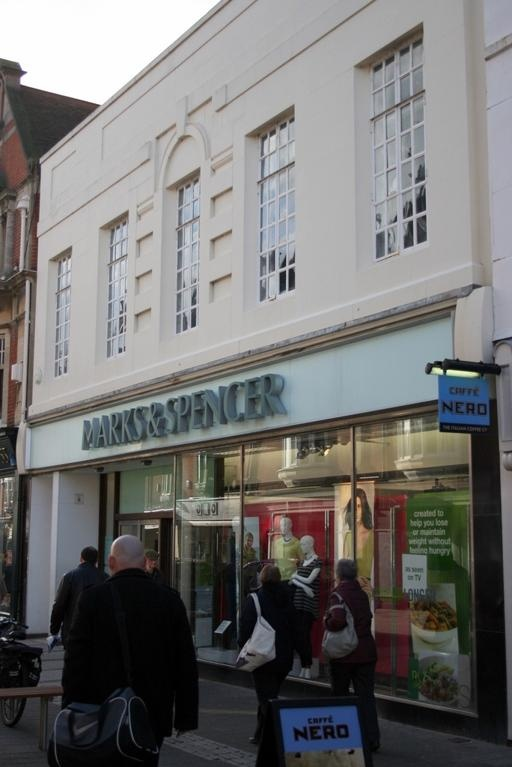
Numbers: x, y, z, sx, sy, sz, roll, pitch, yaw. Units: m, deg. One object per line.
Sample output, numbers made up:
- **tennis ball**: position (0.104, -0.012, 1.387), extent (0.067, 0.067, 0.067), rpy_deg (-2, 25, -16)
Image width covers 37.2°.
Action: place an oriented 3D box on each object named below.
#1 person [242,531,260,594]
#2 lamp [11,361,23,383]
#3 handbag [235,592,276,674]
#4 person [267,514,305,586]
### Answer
- **person**: position (-0.072, 2.520, 10.374), extent (0.236, 1.001, 0.285), rpy_deg (-5, 19, -7)
- **lamp**: position (-5.831, -0.275, 18.694), extent (0.283, 0.611, 0.399), rpy_deg (8, -13, -32)
- **handbag**: position (0.003, 1.950, 6.097), extent (0.172, 0.503, 0.299), rpy_deg (1, 1, 43)
- **person**: position (0.384, 2.020, 9.186), extent (0.296, 1.051, 0.521), rpy_deg (24, -35, -33)
